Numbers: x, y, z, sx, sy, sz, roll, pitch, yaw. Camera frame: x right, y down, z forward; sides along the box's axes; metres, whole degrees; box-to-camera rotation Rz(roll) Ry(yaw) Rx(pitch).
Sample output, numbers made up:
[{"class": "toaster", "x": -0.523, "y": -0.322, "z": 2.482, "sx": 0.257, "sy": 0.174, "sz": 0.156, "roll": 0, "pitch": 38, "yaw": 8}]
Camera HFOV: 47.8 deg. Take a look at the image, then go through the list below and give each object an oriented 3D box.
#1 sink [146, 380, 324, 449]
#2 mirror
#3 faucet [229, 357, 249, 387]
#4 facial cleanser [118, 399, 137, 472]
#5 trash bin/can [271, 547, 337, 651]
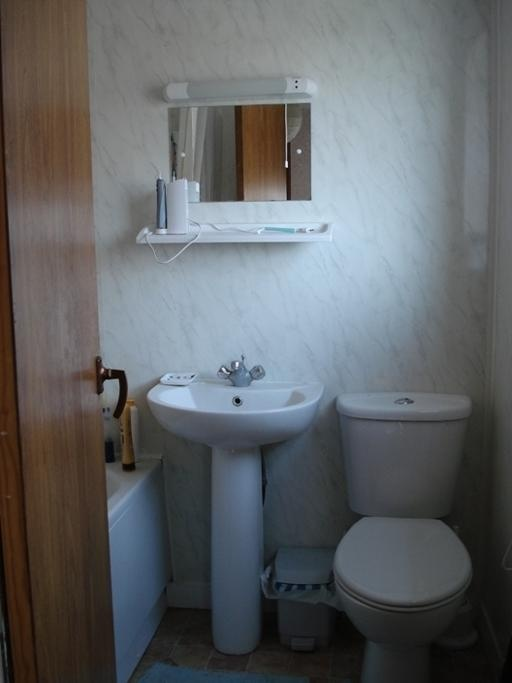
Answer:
[{"class": "sink", "x": -0.069, "y": 0.218, "z": 1.735, "sx": 0.540, "sy": 0.179, "sz": 0.404, "roll": -5, "pitch": 5, "yaw": 9}, {"class": "mirror", "x": -0.029, "y": -0.606, "z": 1.865, "sx": 0.419, "sy": 0.333, "sz": 0.034, "roll": -5, "pitch": 4, "yaw": 6}, {"class": "faucet", "x": -0.053, "y": 0.098, "z": 1.868, "sx": 0.051, "sy": 0.092, "sz": 0.078, "roll": -2, "pitch": 10, "yaw": -2}, {"class": "facial cleanser", "x": -0.418, "y": 0.322, "z": 1.909, "sx": 0.041, "sy": 0.231, "sz": 0.042, "roll": 1, "pitch": -17, "yaw": -21}, {"class": "trash bin/can", "x": 0.157, "y": 0.817, "z": 1.853, "sx": 0.194, "sy": 0.236, "sz": 0.242, "roll": -4, "pitch": 5, "yaw": 8}]
